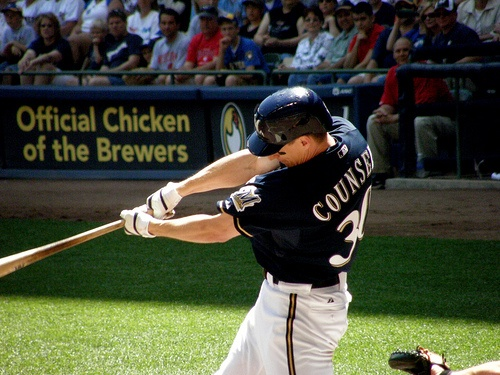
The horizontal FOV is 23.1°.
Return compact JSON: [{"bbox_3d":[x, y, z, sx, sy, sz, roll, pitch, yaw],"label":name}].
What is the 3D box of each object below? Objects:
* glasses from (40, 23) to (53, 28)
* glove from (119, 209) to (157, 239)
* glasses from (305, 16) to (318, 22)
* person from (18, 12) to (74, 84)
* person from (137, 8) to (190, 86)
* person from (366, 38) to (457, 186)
[{"bbox_3d":[-2.953,-2.350,17.820,0.192,0.076,0.078,0,1,1],"label":"glasses"},{"bbox_3d":[-1.073,0.348,11.663,0.213,0.132,0.296,-1,12,-43],"label":"glove"},{"bbox_3d":[0.837,-2.277,16.702,0.098,0.043,0.116,4,35,-2],"label":"glasses"},{"bbox_3d":[-2.947,-2.090,17.856,0.697,0.863,0.532,0,1,-41],"label":"person"},{"bbox_3d":[-1.213,-1.939,17.336,0.758,1.208,0.714,15,24,34],"label":"person"},{"bbox_3d":[2.071,-0.964,15.896,1.102,1.979,0.358,0,1,8],"label":"person"}]
